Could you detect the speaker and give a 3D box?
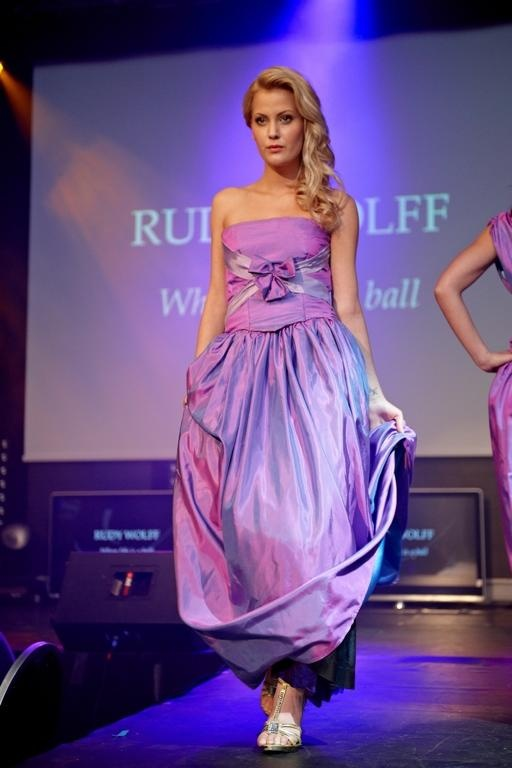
[{"bbox_3d":[-0.439,0.644,2.148,0.355,0.255,0.292,1,-16,-3],"label":"speaker"}]

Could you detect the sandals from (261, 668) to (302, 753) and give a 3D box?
[{"bbox_3d":[0.047,0.609,1.277,0.047,0.072,0.149,-6,-22,11],"label":"sandals"}]

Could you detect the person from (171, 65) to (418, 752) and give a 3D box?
[{"bbox_3d":[0.058,-0.099,1.542,0.548,1.361,0.580,-2,-5,12],"label":"person"}]
